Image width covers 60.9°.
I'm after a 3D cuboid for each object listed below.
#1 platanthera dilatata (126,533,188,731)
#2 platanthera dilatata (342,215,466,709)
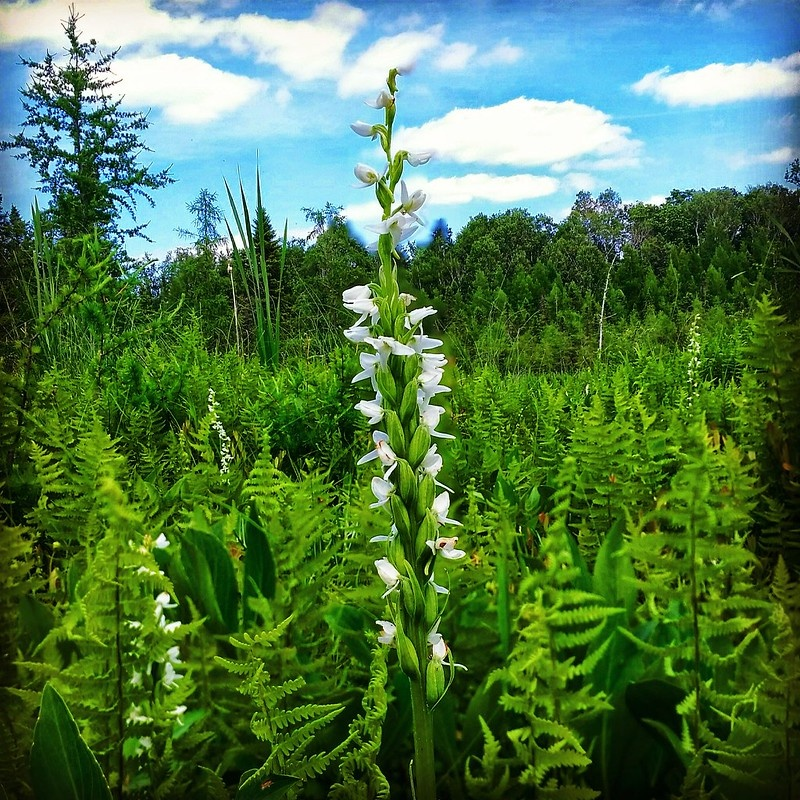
[{"bbox_3d":[-0.325,0.270,0.897,0.066,0.229,0.314,-5,7,-20],"label":"platanthera dilatata"},{"bbox_3d":[0.002,0.071,0.864,0.132,0.598,0.284,-3,6,0],"label":"platanthera dilatata"}]
